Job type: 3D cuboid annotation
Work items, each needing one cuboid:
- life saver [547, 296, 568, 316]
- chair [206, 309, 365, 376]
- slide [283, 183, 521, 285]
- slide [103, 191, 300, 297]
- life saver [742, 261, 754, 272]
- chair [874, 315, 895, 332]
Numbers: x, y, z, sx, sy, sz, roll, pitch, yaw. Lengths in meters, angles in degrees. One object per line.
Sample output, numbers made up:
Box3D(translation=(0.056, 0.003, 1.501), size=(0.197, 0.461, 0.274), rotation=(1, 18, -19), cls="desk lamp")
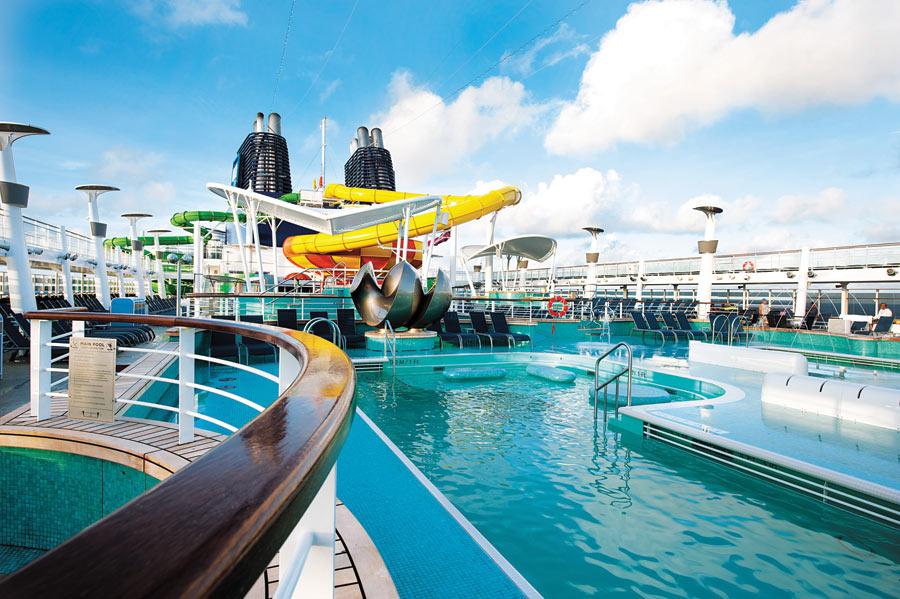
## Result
Box3D(translation=(3.856, 0.220, 18.590), size=(0.745, 0.707, 0.223), rotation=(8, -8, -27), cls="life saver")
Box3D(translation=(-3.964, 0.871, 12.483), size=(2.636, 1.152, 3.058), rotation=(2, 3, 8), cls="chair")
Box3D(translation=(-1.239, -3.111, 23.350), size=(8.031, 2.447, 5.051), rotation=(-11, -6, 38), cls="slide")
Box3D(translation=(-16.189, -4.148, 33.482), size=(11.823, 4.360, 14.995), rotation=(-1, 0, -19), cls="slide")
Box3D(translation=(15.614, -1.756, 26.948), size=(0.301, 0.557, 0.666), rotation=(1, 3, -14), cls="life saver")
Box3D(translation=(13.440, 0.742, 15.963), size=(0.424, 0.541, 0.850), rotation=(4, 4, 39), cls="chair")
